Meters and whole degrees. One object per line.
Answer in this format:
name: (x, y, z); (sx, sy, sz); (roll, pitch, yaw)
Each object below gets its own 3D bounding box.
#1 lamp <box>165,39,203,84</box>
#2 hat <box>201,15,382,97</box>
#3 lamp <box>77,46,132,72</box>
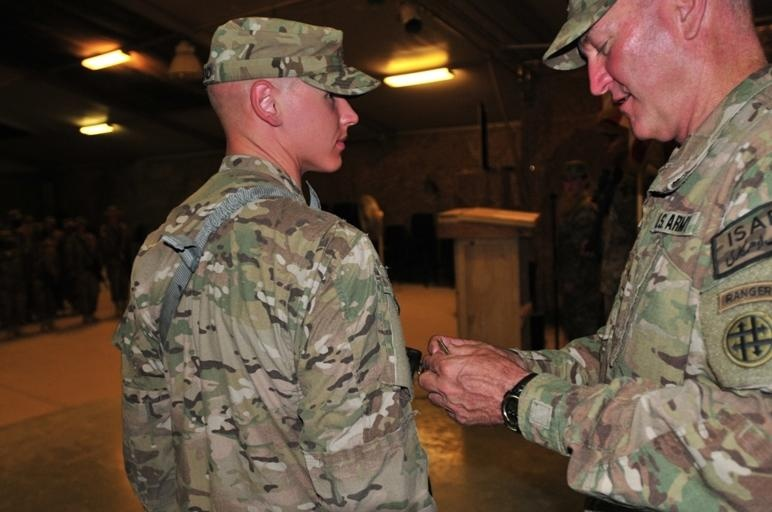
lamp: (-1.758, -1.681, 6.600); (0.321, 0.306, 0.318); (-6, 18, -19)
hat: (-0.414, -0.809, 3.239); (0.588, 0.212, 0.368); (3, 11, -10)
lamp: (-2.434, -1.693, 6.523); (0.325, 0.063, 0.184); (-12, -2, 0)
